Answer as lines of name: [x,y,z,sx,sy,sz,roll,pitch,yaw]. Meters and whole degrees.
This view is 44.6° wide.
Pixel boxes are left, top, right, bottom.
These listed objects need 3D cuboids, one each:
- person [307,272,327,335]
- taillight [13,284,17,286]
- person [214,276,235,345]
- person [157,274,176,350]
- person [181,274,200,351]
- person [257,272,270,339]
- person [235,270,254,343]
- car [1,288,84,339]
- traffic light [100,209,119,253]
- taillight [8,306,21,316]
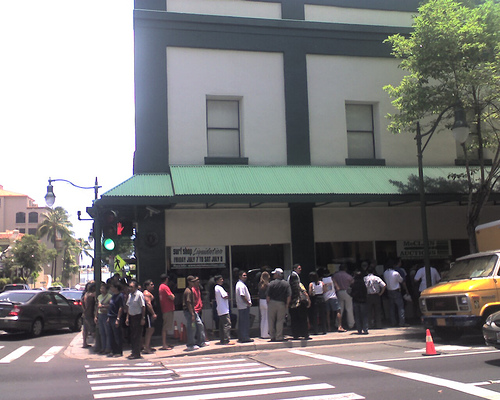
person: [2.238,3.435,20.284,0.602,2.058,0.847,-3,-6,4]
taillight: [-17.597,6.372,45.602,0.284,0.105,0.292,3,-2,-21]
person: [-0.844,3.453,19.235,0.527,2.091,1.482,-2,-7,-4]
person: [-2.575,3.456,18.888,0.455,2.293,1.006,-2,-6,-10]
person: [-1.782,3.402,18.363,0.452,2.191,0.691,-2,-6,-5]
person: [0.447,3.414,19.806,0.325,2.133,0.934,-2,-6,-6]
person: [-0.209,3.316,19.030,0.416,2.200,0.595,-3,-6,-2]
car: [-8.164,4.440,23.841,0.853,1.765,4.158,-5,-7,20]
traffic light: [-4.513,0.940,19.610,0.587,1.365,0.855,-1,-7,-13]
taillight: [-8.560,4.055,22.238,0.451,0.355,0.121,3,-9,-42]
